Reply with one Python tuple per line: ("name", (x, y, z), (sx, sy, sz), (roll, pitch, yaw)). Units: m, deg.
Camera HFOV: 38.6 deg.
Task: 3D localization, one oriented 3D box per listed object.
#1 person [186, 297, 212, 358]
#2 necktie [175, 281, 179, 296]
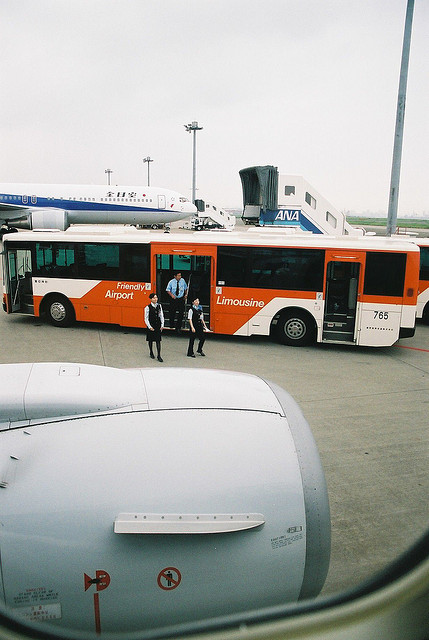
("person", (-0.404, 0.168, 13.768), (0.441, 1.290, 0.812), (1, 8, -2))
("necktie", (-0.922, -0.766, 15.107), (0.078, 0.324, 0.041), (2, 8, 1))
